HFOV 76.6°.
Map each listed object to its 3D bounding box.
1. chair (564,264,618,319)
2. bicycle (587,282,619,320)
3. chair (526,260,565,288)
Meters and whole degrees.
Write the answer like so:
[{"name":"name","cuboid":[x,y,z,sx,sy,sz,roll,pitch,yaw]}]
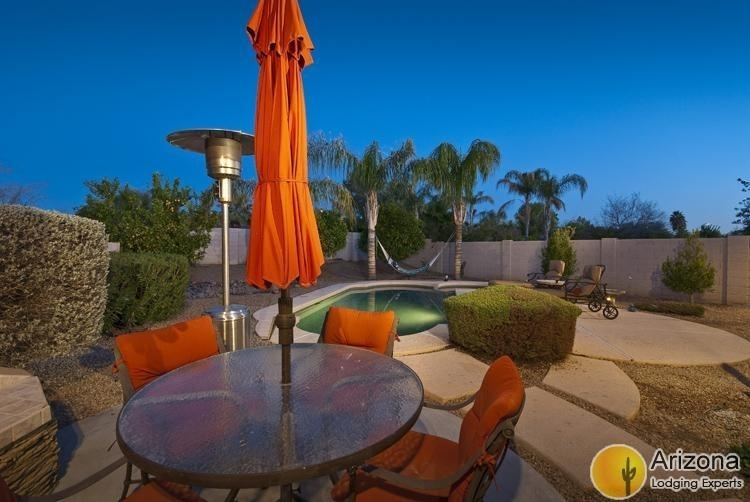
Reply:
[{"name":"chair","cuboid":[9.787,1.841,22.108,2.368,2.495,1.719,-3,2,7]},{"name":"bicycle","cuboid":[10.122,2.375,21.248,0.471,0.963,1.761,4,9,-12]},{"name":"chair","cuboid":[8.772,1.334,24.533,1.529,1.655,1.720,-2,-2,2]}]
